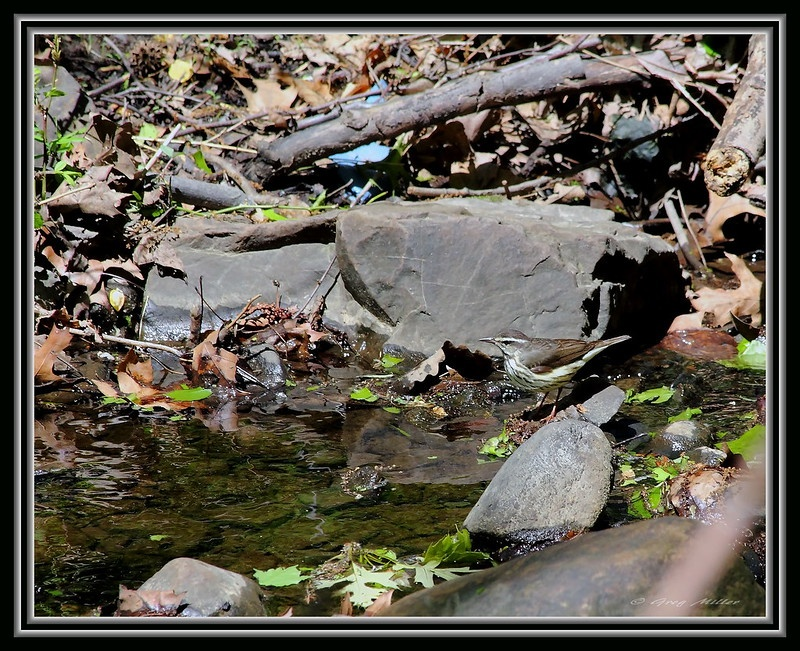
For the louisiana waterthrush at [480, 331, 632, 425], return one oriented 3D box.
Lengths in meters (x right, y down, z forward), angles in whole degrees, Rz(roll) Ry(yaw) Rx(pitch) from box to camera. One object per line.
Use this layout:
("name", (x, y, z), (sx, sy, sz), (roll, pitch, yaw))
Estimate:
("louisiana waterthrush", (0.922, 0.214, 5.302), (0.945, 0.399, 0.294), (-7, 20, -21))
